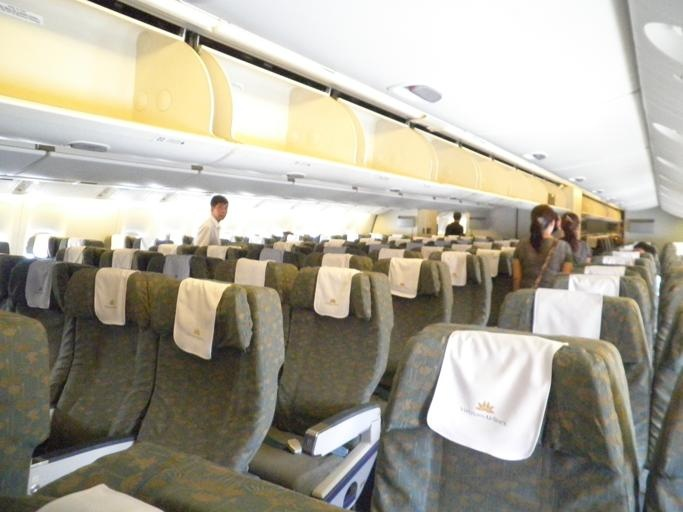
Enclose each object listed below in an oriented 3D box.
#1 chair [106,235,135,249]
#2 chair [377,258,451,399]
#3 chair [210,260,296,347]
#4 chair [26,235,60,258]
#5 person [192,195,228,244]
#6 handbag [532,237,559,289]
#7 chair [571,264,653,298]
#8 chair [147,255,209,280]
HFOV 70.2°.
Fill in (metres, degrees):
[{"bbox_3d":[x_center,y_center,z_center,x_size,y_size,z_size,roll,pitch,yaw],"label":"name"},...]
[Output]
[{"bbox_3d":[-4.151,-0.277,9.243,0.509,0.298,0.365,5,11,25],"label":"chair"},{"bbox_3d":[0.346,0.426,3.316,0.573,0.787,0.641,4,5,39],"label":"chair"},{"bbox_3d":[-0.599,0.242,3.146,0.442,0.419,0.235,7,-17,-9],"label":"chair"},{"bbox_3d":[-5.106,-0.154,8.200,0.270,0.370,0.311,29,-16,-29],"label":"chair"},{"bbox_3d":[-1.811,-0.515,6.729,0.427,0.721,1.220,-1,0,-17],"label":"person"},{"bbox_3d":[1.826,-0.021,4.299,0.127,0.827,0.100,38,-41,-12],"label":"handbag"},{"bbox_3d":[1.956,0.109,3.450,0.373,0.370,0.335,0,2,37],"label":"chair"},{"bbox_3d":[-1.438,0.089,4.417,0.636,0.217,0.246,-1,0,14],"label":"chair"}]
